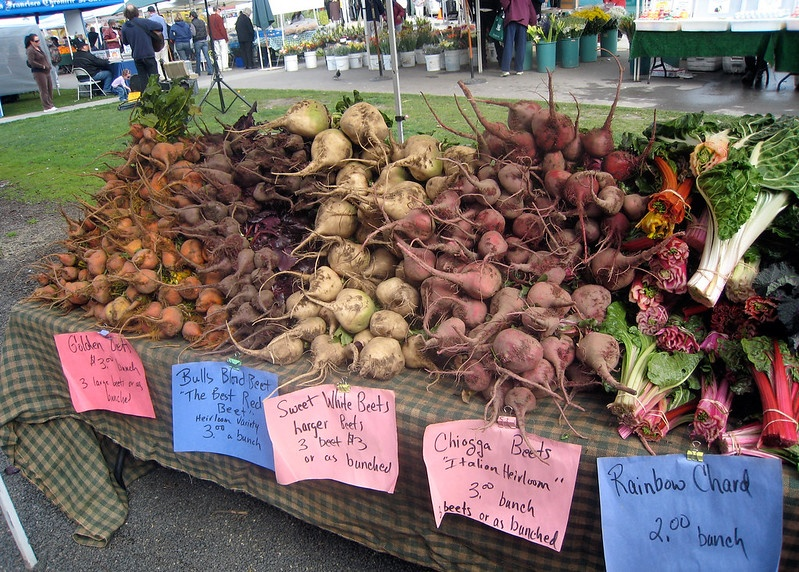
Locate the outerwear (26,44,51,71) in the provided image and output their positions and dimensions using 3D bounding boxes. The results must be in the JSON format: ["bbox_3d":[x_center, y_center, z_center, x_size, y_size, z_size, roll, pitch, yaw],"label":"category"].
[{"bbox_3d":[-10.684,-6.642,15.862,0.375,0.726,0.643,-10,25,-10],"label":"outerwear"}]

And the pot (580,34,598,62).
[{"bbox_3d":[4.907,-6.129,13.976,0.402,0.656,0.325,-1,25,9],"label":"pot"}]

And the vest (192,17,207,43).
[{"bbox_3d":[-7.151,-9.129,19.261,0.531,0.861,0.666,-12,26,-16],"label":"vest"}]

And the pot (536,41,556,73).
[{"bbox_3d":[3.385,-5.245,12.416,0.412,0.658,1.186,2,25,14],"label":"pot"}]

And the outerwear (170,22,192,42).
[{"bbox_3d":[-7.679,-8.845,18.879,0.685,0.702,0.521,-14,26,-20],"label":"outerwear"}]

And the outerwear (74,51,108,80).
[{"bbox_3d":[-10.671,-7.702,18.772,1.064,0.824,0.833,-16,27,-23],"label":"outerwear"}]

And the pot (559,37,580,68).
[{"bbox_3d":[4.204,-5.738,13.281,0.556,0.603,0.549,-10,40,9],"label":"pot"}]

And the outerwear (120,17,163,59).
[{"bbox_3d":[-6.138,-5.871,12.944,0.978,0.946,0.522,-5,19,8],"label":"outerwear"}]
